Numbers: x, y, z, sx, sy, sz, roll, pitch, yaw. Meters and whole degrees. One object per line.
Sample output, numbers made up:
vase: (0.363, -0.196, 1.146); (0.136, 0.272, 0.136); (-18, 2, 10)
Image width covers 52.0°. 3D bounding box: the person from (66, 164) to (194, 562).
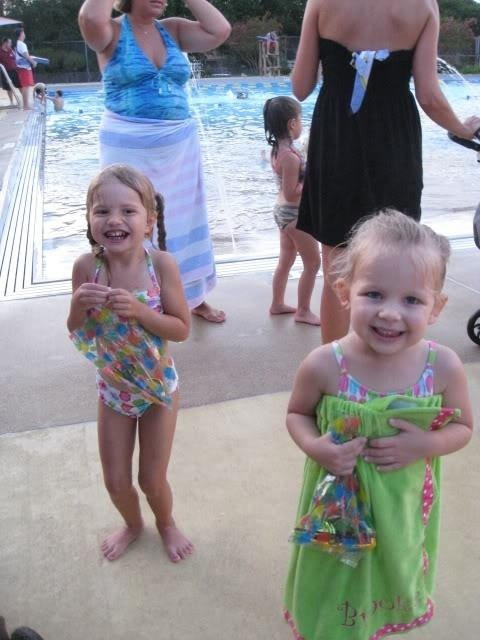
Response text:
person: (-0.301, 0.146, 1.405); (0.346, 1.080, 0.443); (-8, 25, -6)
